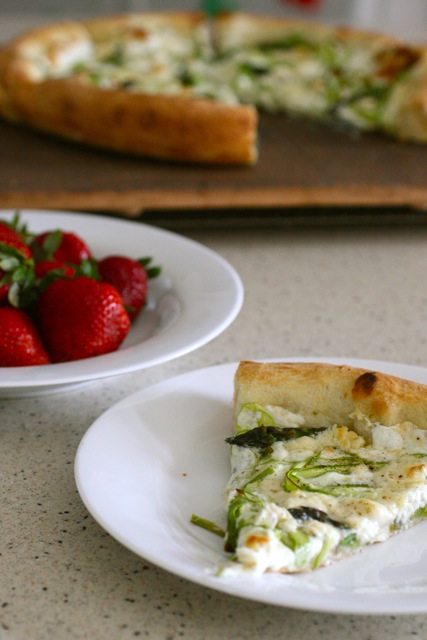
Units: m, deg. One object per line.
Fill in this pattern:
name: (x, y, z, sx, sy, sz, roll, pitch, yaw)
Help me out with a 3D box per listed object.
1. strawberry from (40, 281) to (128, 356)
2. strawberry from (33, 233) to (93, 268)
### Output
strawberry: (-0.074, -0.003, 0.401, 0.052, 0.046, 0.046, -14, 42, -20)
strawberry: (-0.106, -0.049, 0.453, 0.036, 0.018, 0.035, 15, 14, 22)
